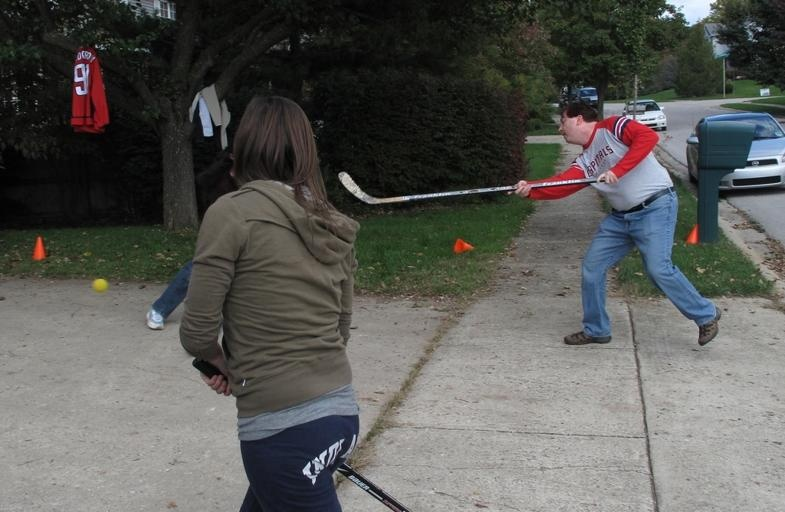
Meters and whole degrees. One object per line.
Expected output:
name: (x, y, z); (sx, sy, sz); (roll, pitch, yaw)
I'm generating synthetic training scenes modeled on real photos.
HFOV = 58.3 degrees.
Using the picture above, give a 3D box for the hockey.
hockey: (0.824, -0.807, 8.104); (2.941, 0.286, 0.198); (-5, -17, 15)

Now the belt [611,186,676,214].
belt: (2.649, -0.563, 7.432); (0.396, 0.097, 0.351); (-28, -4, 27)
